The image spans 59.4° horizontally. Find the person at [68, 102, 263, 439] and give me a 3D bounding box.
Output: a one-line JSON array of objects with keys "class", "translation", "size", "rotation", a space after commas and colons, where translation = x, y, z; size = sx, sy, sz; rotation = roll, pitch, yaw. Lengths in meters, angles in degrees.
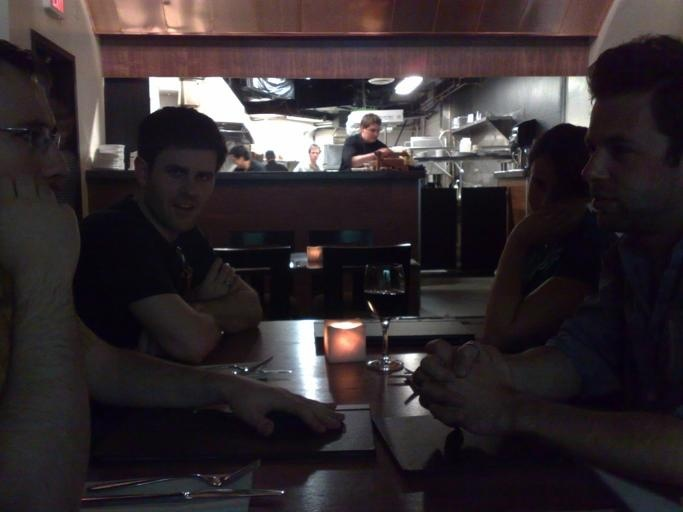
[{"class": "person", "translation": [-0.569, -0.021, 2.089], "size": [0.620, 1.045, 0.756], "rotation": [-1, 2, 9]}]
